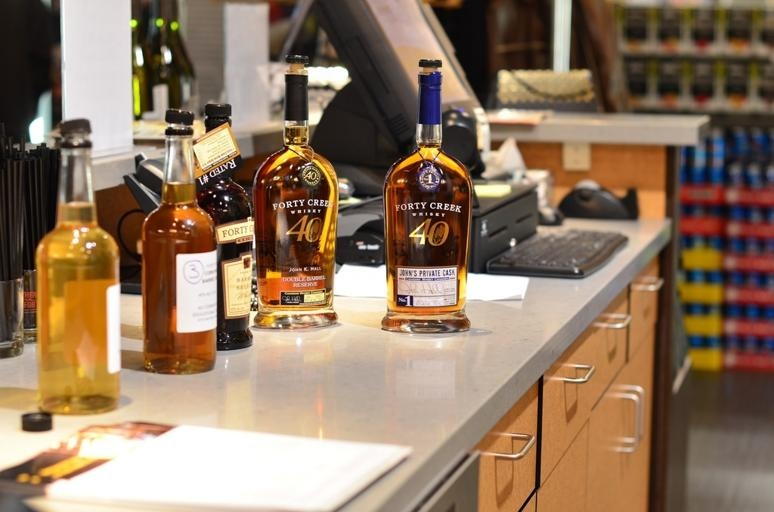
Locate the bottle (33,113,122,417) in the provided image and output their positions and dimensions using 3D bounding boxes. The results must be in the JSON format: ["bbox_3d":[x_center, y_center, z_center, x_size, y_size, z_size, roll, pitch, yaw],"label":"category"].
[{"bbox_3d":[-0.402,0.018,0.975,0.116,0.375,0.052,-7,9,-19],"label":"bottle"}]

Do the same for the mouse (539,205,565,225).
[{"bbox_3d":[0.462,-0.115,2.186,0.060,0.052,0.072,-2,8,15],"label":"mouse"}]
